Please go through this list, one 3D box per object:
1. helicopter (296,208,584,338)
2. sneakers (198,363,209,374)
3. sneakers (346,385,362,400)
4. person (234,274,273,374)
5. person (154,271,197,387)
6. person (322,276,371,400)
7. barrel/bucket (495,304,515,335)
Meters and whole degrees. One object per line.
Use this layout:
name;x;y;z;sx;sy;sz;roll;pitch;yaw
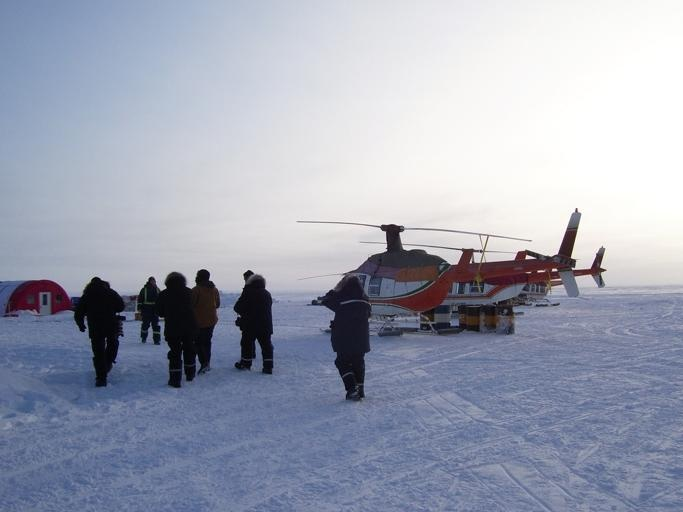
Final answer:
helicopter;4.283;0.783;20.372;8.995;2.243;6.883;1;0;22
sneakers;-2.952;2.394;11.228;0.189;0.197;0.376;-1;0;1
sneakers;0.215;2.372;8.959;0.161;0.132;0.348;2;-13;-7
person;-1.862;1.447;11.169;0.796;2.103;0.837;-2;0;-8
person;-3.173;1.400;10.121;0.681;2.243;0.762;-2;0;-16
person;0.107;1.416;9.309;0.817;2.099;0.827;-2;0;2
barrel/bucket;6.065;2.349;19.555;0.674;0.996;0.694;-1;0;0
